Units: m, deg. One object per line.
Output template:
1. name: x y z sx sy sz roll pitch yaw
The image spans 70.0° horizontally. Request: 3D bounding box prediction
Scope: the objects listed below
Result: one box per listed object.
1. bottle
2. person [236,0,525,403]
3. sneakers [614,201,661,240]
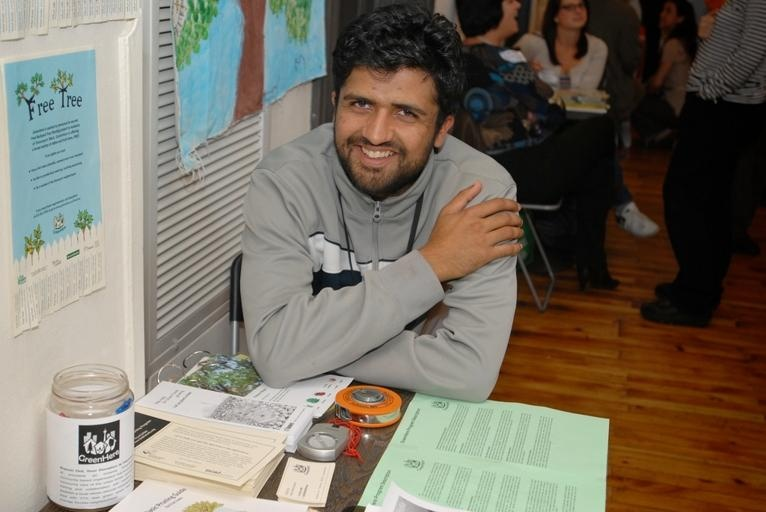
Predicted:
1. bottle: -0.560 0.344 1.069 0.157 0.210 0.187 0 28 5
2. person: -0.026 -0.149 1.603 0.856 1.011 0.895 4 29 12
3. sneakers: 1.341 -0.188 2.916 0.239 0.146 0.098 38 20 15
